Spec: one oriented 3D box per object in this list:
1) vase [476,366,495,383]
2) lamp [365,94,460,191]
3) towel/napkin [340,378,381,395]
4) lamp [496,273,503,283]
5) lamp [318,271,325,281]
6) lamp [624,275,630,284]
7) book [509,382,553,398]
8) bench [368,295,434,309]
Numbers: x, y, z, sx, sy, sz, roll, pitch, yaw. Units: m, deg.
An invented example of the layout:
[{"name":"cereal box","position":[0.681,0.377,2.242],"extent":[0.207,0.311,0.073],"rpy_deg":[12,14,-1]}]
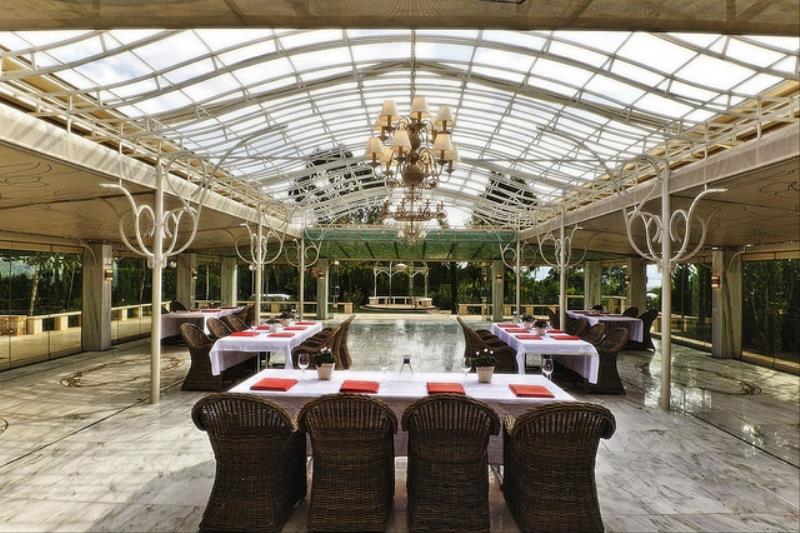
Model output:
[{"name":"vase","position":[1.102,1.446,6.382],"extent":[0.284,0.164,0.211],"rpy_deg":[1,0,-5]},{"name":"lamp","position":[0.195,-2.107,8.451],"extent":[1.790,1.468,1.776],"rpy_deg":[-10,13,-43]},{"name":"towel/napkin","position":[-0.510,1.523,6.064],"extent":[0.491,0.094,0.517],"rpy_deg":[0,-4,-2]},{"name":"lamp","position":[4.553,0.549,22.239],"extent":[0.361,0.319,0.327],"rpy_deg":[1,2,20]},{"name":"lamp","position":[-3.683,0.456,22.648],"extent":[0.384,0.342,0.357],"rpy_deg":[1,3,-31]},{"name":"lamp","position":[9.148,0.549,19.490],"extent":[0.105,0.366,0.773],"rpy_deg":[-2,-5,22]},{"name":"book","position":[1.615,1.568,6.031],"extent":[0.483,0.105,0.482],"rpy_deg":[0,-4,2]},{"name":"bench","position":[-0.029,2.138,28.215],"extent":[3.682,0.831,1.753],"rpy_deg":[0,-4,-2]}]
